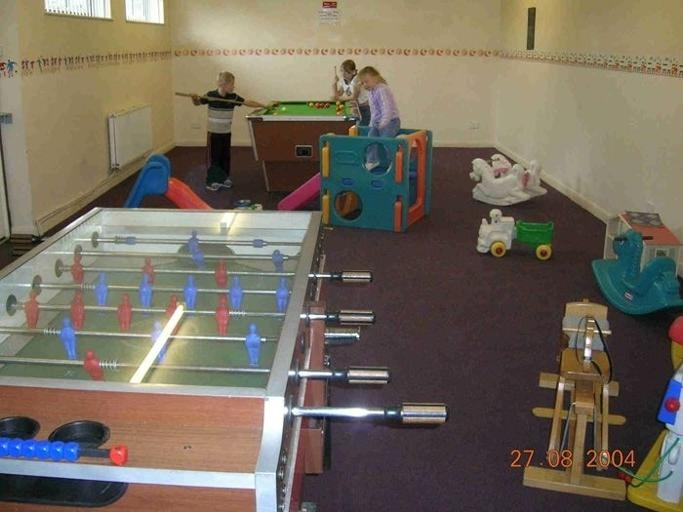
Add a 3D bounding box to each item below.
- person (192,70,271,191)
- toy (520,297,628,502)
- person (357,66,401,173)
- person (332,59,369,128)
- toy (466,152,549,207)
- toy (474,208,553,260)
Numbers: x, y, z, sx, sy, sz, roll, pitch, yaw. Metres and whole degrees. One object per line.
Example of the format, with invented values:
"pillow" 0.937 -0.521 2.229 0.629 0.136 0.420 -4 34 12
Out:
"person" -1.443 -1.548 7.189 1.053 1.379 0.341 -7 21 -33
"toy" 1.216 0.686 2.878 0.470 0.767 0.721 7 22 23
"person" 0.425 -1.536 6.510 0.551 1.178 0.409 -1 7 -11
"person" 0.145 -2.297 8.144 0.533 1.227 0.553 -1 19 -13
"toy" 1.977 -0.911 6.914 0.965 0.518 0.681 13 24 33
"toy" 1.602 -0.219 5.274 0.662 0.427 0.322 7 21 21
